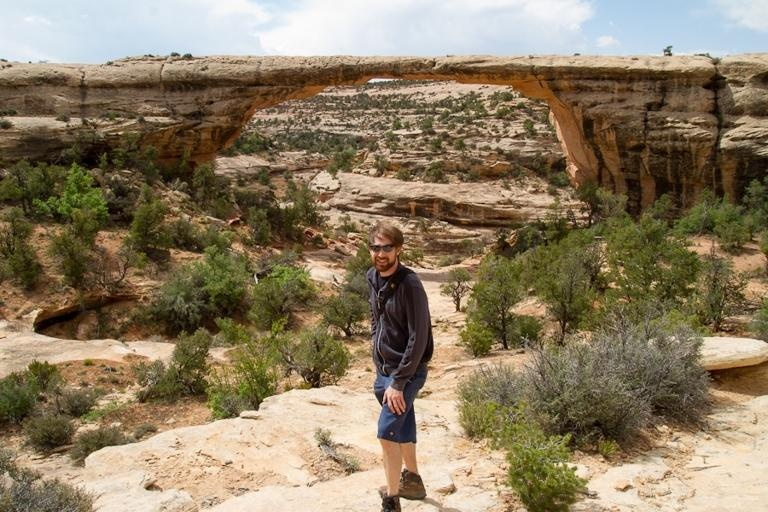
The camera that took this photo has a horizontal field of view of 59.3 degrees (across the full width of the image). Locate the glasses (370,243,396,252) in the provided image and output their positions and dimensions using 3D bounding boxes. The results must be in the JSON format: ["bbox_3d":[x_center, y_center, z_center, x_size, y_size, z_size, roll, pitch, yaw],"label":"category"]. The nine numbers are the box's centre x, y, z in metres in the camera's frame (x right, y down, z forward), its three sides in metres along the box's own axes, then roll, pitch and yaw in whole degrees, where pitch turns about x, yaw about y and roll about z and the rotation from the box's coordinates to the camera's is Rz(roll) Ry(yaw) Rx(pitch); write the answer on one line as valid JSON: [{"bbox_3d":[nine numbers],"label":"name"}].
[{"bbox_3d":[-0.040,-0.175,13.950,0.498,0.153,0.124,-3,7,-2],"label":"glasses"}]
